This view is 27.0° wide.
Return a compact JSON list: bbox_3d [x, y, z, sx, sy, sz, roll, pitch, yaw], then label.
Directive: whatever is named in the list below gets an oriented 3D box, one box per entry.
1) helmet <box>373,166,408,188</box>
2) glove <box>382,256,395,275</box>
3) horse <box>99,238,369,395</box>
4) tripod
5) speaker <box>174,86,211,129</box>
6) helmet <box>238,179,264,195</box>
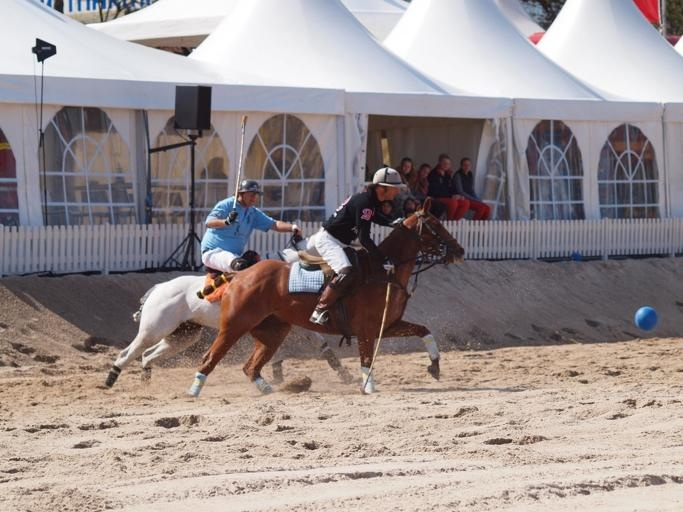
[{"bbox_3d":[0.760,-1.243,22.836,0.382,0.267,0.332,5,7,9],"label":"helmet"},{"bbox_3d":[0.772,0.151,22.991,0.152,0.272,0.088,1,-3,-5],"label":"glove"},{"bbox_3d":[-2.652,0.922,24.361,0.891,2.685,3.877,27,15,30],"label":"horse"},{"bbox_3d":[-3.230,-0.986,28.161,1.045,3.414,1.197,-1,38,-8],"label":"tripod"},{"bbox_3d":[-2.867,-2.875,27.990,0.701,1.173,0.720,0,-5,3],"label":"speaker"},{"bbox_3d":[-1.492,-1.141,23.579,0.377,0.243,0.313,-1,5,-17],"label":"helmet"}]
